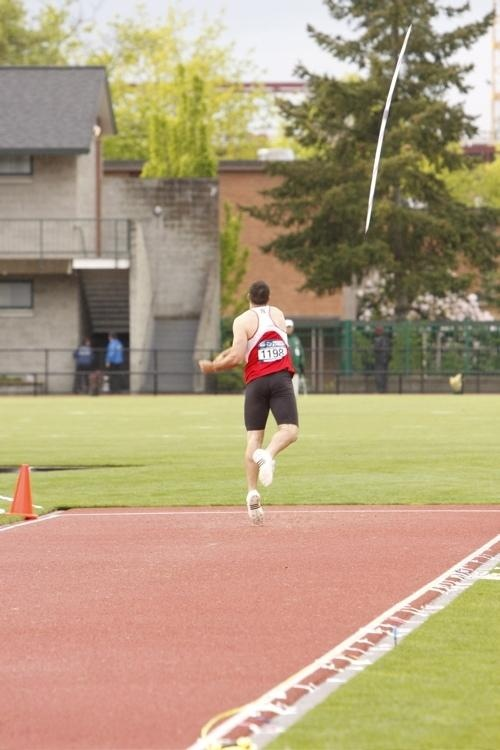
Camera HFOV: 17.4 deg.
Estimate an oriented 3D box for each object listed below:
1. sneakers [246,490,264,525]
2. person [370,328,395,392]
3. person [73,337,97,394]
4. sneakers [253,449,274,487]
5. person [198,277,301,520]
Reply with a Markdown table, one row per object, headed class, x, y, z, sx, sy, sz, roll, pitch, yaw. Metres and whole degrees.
| class | x | y | z | sx | sy | sz | roll | pitch | yaw |
| --- | --- | --- | --- | --- | --- | --- | --- | --- | --- |
| sneakers | 0.034 | 0.840 | 10.323 | 0.082 | 0.264 | 0.105 | -4 | 3 | -13 |
| person | 3.199 | -0.367 | 39.631 | 0.483 | 1.600 | 1.130 | 2 | 1 | 5 |
| person | -3.880 | -0.071 | 38.174 | 0.443 | 1.507 | 0.434 | 8 | -36 | -15 |
| sneakers | 0.089 | 0.577 | 10.393 | 0.111 | 0.287 | 0.093 | 7 | -25 | -42 |
| person | 0.025 | 0.167 | 11.049 | 0.578 | 1.641 | 1.638 | 2 | 1 | 2 |
